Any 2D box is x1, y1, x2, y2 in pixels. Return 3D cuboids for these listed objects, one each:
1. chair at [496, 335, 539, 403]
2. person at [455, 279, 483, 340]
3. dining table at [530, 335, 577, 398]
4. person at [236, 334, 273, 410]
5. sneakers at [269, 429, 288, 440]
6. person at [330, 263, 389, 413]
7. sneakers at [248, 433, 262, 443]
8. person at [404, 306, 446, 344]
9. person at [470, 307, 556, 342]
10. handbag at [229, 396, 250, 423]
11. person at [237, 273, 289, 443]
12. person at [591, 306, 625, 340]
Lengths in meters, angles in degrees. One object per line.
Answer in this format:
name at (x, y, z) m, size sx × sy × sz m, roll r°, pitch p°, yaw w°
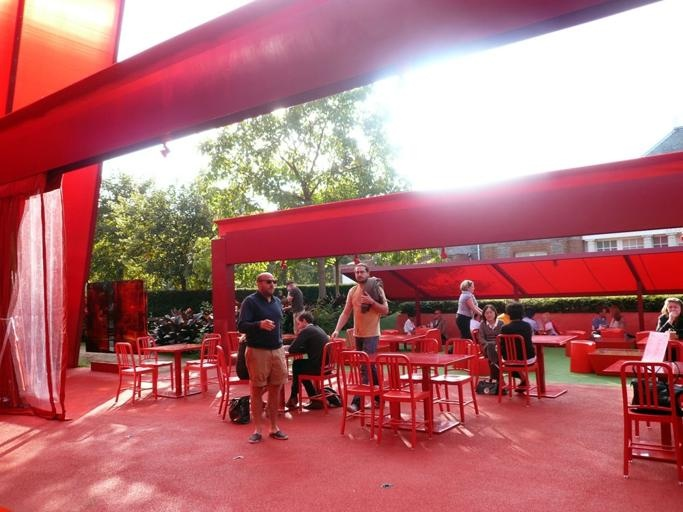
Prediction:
chair at (3.109, 1.903, 8.470) m, size 0.651 × 0.989 × 1.641 m, roll -3°, pitch -3°, yaw 23°
person at (2.845, 1.419, 10.708) m, size 0.617 × 1.747 × 0.523 m, roll 1°, pitch 4°, yaw 4°
dining table at (4.310, 2.273, 9.795) m, size 1.099 × 1.132 × 1.149 m, roll -1°, pitch -4°, yaw 1°
person at (-1.351, 1.612, 7.233) m, size 0.548 × 1.091 × 0.678 m, roll -1°, pitch -2°, yaw -16°
sneakers at (-0.809, 2.399, 6.447) m, size 0.198 × 0.077 × 0.106 m, roll -4°, pitch -5°, yaw 38°
person at (0.291, 1.183, 7.473) m, size 0.669 × 2.111 × 0.705 m, roll -7°, pitch -8°, yaw 44°
sneakers at (-1.114, 2.380, 6.316) m, size 0.147 × 0.118 × 0.152 m, roll -2°, pitch -3°, yaw -6°
person at (2.734, 2.301, 16.276) m, size 1.123 × 1.657 × 1.370 m, roll 1°, pitch -7°, yaw 13°
person at (3.591, 1.453, 10.112) m, size 1.286 × 0.555 × 1.023 m, roll -5°, pitch -6°, yaw 11°
handbag at (-1.503, 2.319, 7.230) m, size 0.273 × 0.394 × 0.393 m, roll 6°, pitch -29°, yaw -15°
person at (-1.008, 1.334, 6.392) m, size 0.517 × 2.225 × 0.630 m, roll -2°, pitch -1°, yaw 14°
person at (7.617, 1.938, 13.797) m, size 0.724 × 1.262 × 1.150 m, roll 2°, pitch -7°, yaw 1°
